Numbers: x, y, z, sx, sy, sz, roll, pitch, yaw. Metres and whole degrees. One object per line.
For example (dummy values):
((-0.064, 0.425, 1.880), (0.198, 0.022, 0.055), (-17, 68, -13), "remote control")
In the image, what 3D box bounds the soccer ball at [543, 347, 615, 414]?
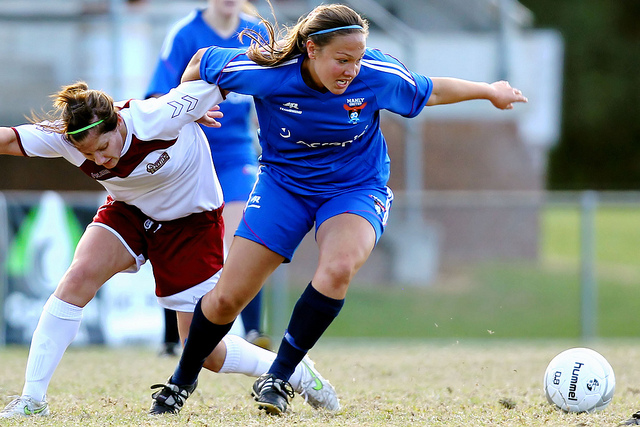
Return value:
((1.922, 1.281, 6.352), (0.465, 0.480, 0.433), (-26, -12, -6), "soccer ball")
